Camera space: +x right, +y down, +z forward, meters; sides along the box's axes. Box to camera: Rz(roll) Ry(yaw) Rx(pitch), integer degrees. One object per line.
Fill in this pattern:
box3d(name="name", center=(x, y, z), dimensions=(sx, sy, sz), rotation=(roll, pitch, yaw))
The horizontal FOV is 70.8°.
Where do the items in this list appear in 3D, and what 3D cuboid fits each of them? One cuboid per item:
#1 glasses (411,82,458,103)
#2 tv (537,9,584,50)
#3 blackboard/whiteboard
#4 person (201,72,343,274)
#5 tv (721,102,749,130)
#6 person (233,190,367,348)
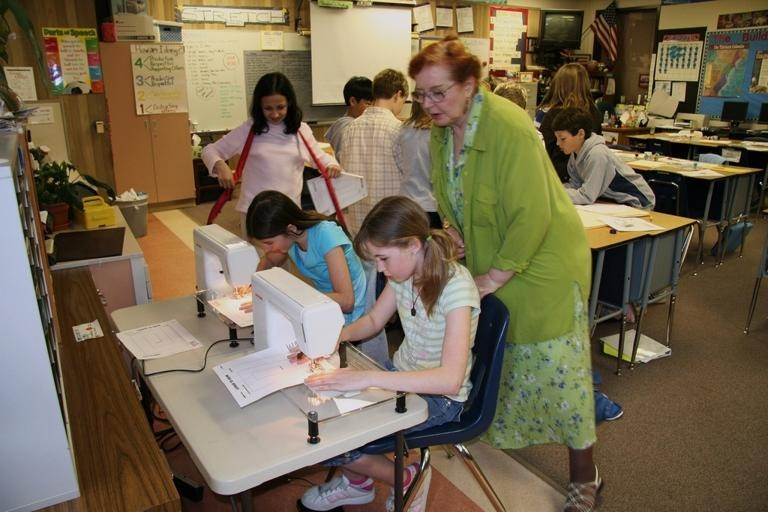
box3d(name="glasses", center=(0.175, -0.636, 2.120), dimensions=(0.091, 0.075, 0.194), rotation=(-16, 24, -37))
box3d(name="tv", center=(3.168, -4.052, 10.063), dimensions=(1.030, 0.852, 0.553), rotation=(0, 19, 1))
box3d(name="blackboard/whiteboard", center=(-1.575, -2.115, 6.489), dimensions=(2.470, 1.447, 0.088), rotation=(-6, 18, -23))
box3d(name="person", center=(-0.760, -0.445, 3.779), dimensions=(0.901, 1.470, 0.499), rotation=(-4, 27, -15))
box3d(name="tv", center=(5.540, -2.184, 8.469), dimensions=(0.146, 0.426, 0.420), rotation=(-5, 23, -34))
box3d(name="person", center=(-0.362, 0.156, 2.748), dimensions=(0.515, 0.970, 0.437), rotation=(-15, 28, -5))
